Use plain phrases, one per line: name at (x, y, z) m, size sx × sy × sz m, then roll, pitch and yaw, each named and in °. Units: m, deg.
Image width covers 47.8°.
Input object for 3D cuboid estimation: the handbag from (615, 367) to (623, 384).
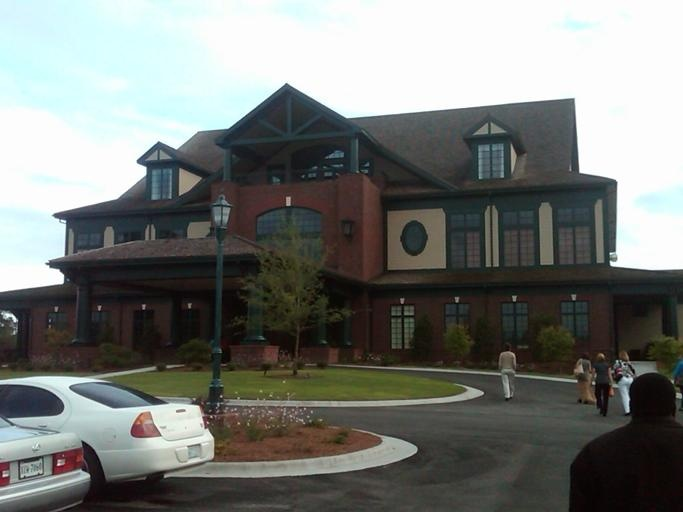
handbag at (7.474, 3.210, 20.897) m, size 0.254 × 0.329 × 0.556 m, roll -13°, pitch -23°, yaw 25°
